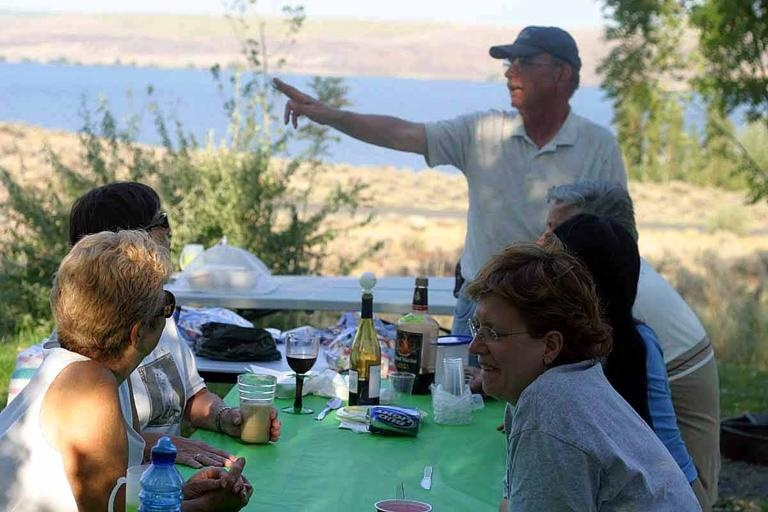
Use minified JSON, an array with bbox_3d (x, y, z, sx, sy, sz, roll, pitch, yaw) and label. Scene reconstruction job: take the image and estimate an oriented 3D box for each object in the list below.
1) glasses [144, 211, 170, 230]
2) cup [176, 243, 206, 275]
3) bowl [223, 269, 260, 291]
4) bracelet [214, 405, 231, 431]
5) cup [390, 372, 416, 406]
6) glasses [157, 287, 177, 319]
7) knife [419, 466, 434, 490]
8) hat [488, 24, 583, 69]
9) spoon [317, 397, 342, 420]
[{"bbox_3d":[-1.307,-0.206,6.218,0.102,0.122,0.092,25,13,-13],"label":"glasses"},{"bbox_3d":[-1.556,0.011,8.698,0.183,0.261,0.276,1,-1,-3],"label":"cup"},{"bbox_3d":[-1.034,0.180,7.881,0.228,0.174,0.128,2,3,-24],"label":"bowl"},{"bbox_3d":[-0.905,0.928,6.058,0.042,0.098,0.127,5,44,-4],"label":"bracelet"},{"bbox_3d":[0.100,0.780,6.215,0.145,0.178,0.157,0,-1,0],"label":"cup"},{"bbox_3d":[-1.144,0.259,5.651,0.045,0.139,0.097,-5,-1,23],"label":"glasses"},{"bbox_3d":[0.226,1.190,5.714,0.067,0.092,0.143,-2,5,4],"label":"knife"},{"bbox_3d":[1.005,-1.407,7.098,0.433,0.211,0.296,5,4,-4],"label":"hat"},{"bbox_3d":[-0.315,0.891,6.217,0.054,0.039,0.245,8,22,15],"label":"spoon"}]
